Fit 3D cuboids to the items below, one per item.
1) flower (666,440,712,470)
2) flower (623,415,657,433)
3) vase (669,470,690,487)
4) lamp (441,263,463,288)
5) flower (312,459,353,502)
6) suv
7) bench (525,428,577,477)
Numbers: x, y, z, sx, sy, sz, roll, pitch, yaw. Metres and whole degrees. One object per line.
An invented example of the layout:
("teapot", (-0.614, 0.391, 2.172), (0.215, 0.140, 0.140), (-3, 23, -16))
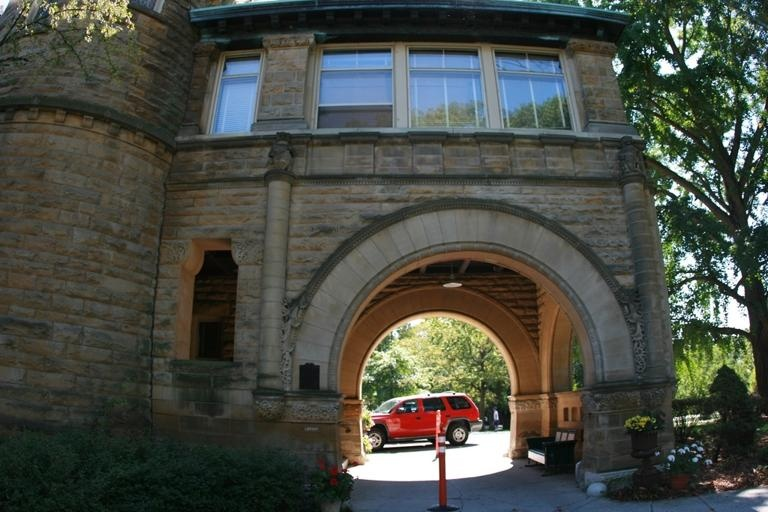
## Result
("flower", (6.955, 4.606, 15.195), (0.887, 0.536, 1.028), (-3, -5, -2))
("flower", (5.886, 3.783, 14.825), (0.685, 0.352, 0.294), (-5, -18, 17))
("vase", (6.650, 5.040, 14.736), (0.392, 0.240, 0.365), (8, -15, -30))
("lamp", (2.131, 0.590, 20.146), (0.834, 0.708, 0.782), (1, -11, -9))
("flower", (-1.175, 4.940, 14.259), (0.764, 0.780, 0.733), (12, -21, -34))
("suv", (1.392, 5.968, 23.531), (4.784, 1.723, 2.110), (2, -25, -6))
("bench", (4.530, 5.174, 17.647), (1.125, 0.917, 1.585), (-3, -10, -4))
